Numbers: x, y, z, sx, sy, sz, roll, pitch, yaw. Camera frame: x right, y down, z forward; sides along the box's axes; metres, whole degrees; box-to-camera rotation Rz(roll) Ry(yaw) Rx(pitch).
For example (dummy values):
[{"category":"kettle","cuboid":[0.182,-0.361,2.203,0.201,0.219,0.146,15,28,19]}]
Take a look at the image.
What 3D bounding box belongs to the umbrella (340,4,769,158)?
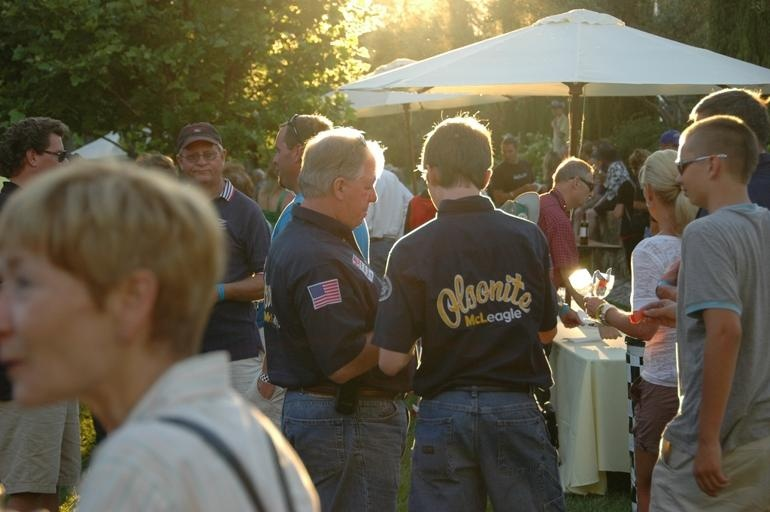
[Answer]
[{"category":"umbrella","cuboid":[1.754,-1.939,8.633,2.531,0.955,2.453,-3,2,-35]}]
